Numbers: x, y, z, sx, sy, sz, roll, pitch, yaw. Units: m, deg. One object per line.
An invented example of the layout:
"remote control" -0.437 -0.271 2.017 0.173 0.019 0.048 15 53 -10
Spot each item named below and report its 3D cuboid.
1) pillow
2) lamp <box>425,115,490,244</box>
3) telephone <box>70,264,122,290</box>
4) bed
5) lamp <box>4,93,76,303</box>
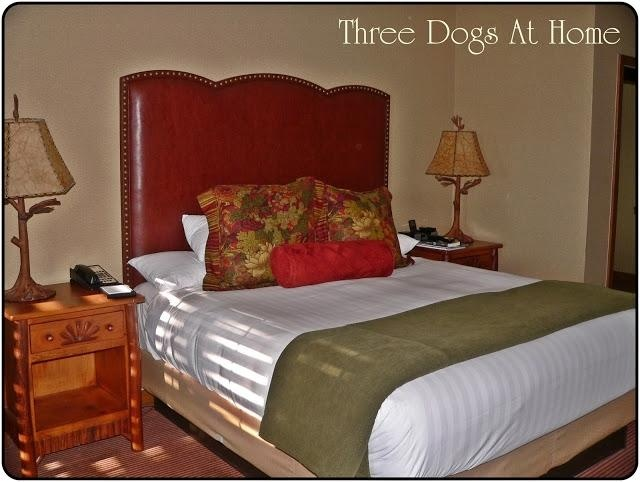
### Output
"pillow" -0.182 -0.123 2.864 1.229 0.740 0.376 -9 -9 -7
"lamp" 1.219 -0.572 4.340 0.520 1.109 0.951 3 13 14
"telephone" -1.280 0.209 2.737 0.166 0.089 0.234 -8 19 -40
"bed" 0.280 0.452 2.659 2.282 0.500 1.693 12 17 43
"lamp" -1.505 -0.246 2.573 0.360 1.038 0.504 -6 14 -27
